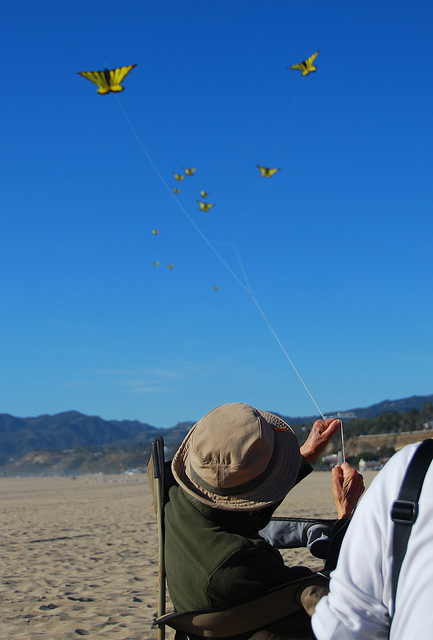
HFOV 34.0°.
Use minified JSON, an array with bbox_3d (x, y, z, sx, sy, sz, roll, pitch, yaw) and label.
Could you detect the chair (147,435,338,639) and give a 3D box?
[{"bbox_3d":[0.043,0.710,2.296,0.656,0.705,0.804,-5,-11,7],"label":"chair"}]
